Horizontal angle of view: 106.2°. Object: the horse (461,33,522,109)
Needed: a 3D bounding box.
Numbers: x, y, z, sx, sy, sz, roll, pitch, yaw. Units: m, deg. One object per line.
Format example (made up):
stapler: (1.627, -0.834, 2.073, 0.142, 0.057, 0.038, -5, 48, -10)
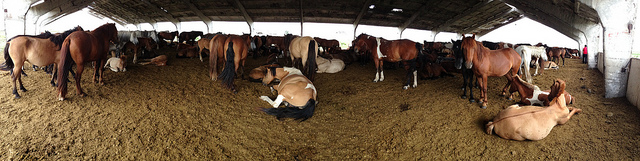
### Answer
horse: (22.614, -2.540, 35.311, 8.077, 10.194, 8.627, 2, 1, -3)
